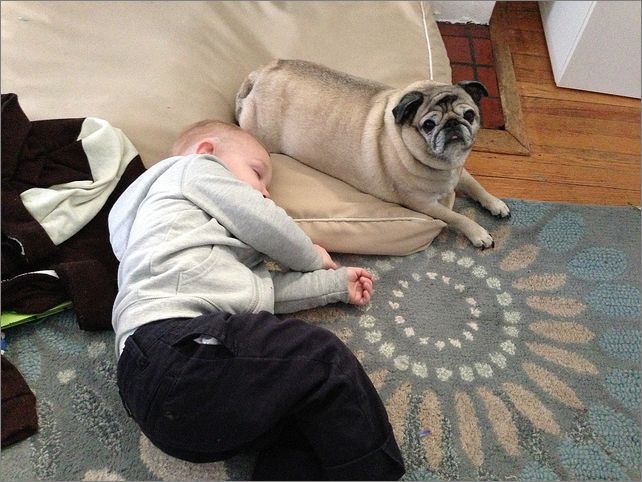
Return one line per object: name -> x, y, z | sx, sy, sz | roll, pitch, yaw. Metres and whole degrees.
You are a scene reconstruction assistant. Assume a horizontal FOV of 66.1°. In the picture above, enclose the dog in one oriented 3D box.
dog -> 0.190, -0.436, 1.820 | 1.084, 0.537, 0.381 | 26, 54, 21
